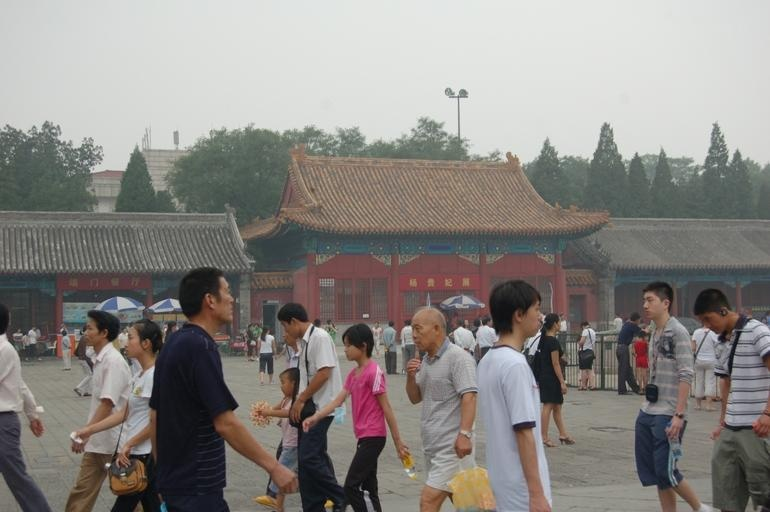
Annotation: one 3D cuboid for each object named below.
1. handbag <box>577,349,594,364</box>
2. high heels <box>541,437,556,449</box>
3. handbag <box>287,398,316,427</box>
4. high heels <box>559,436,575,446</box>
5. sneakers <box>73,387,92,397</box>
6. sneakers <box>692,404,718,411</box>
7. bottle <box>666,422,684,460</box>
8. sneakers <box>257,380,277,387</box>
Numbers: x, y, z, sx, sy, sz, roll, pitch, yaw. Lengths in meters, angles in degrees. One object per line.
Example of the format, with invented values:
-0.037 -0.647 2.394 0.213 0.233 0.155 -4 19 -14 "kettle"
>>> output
4.277 2.220 22.117 0.355 0.442 0.305 2 -13 -3 "handbag"
2.564 2.914 15.986 0.179 0.124 0.455 -1 -8 9 "high heels"
-1.011 1.933 12.660 0.266 0.362 0.154 21 -4 33 "handbag"
2.883 2.902 16.053 0.278 0.123 0.091 0 -4 -20 "high heels"
-6.496 2.962 22.162 0.476 0.196 0.156 16 5 -40 "sneakers"
5.966 2.834 19.106 0.377 0.154 0.126 0 -1 -24 "sneakers"
3.531 2.271 12.445 0.155 0.452 0.324 1 4 12 "bottle"
-2.788 3.020 24.248 0.395 0.152 0.131 0 -2 -8 "sneakers"
